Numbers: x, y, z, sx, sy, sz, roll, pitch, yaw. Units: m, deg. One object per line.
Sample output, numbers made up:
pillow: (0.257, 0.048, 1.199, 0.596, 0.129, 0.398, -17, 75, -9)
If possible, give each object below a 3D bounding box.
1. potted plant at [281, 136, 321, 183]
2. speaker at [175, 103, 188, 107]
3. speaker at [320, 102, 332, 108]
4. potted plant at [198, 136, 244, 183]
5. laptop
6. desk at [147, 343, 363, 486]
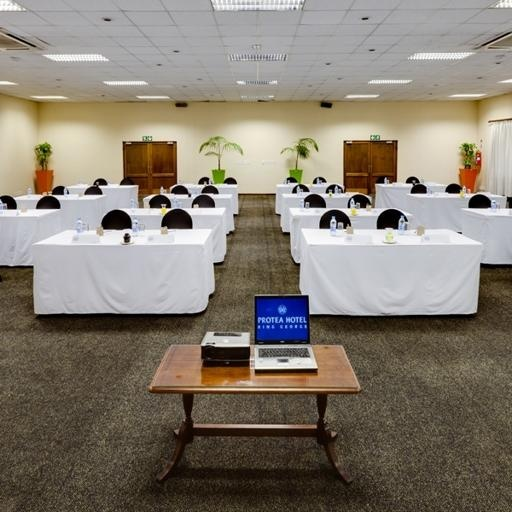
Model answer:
potted plant: (1.902, -4.049, 16.776, 1.500, 1.977, 1.883, 1, 1, 37)
speaker: (-3.221, -6.452, 16.551, 0.321, 0.136, 0.215, 0, 11, -2)
speaker: (2.952, -6.419, 16.461, 0.324, 0.163, 0.186, 1, -25, 3)
potted plant: (-1.563, -4.052, 16.179, 2.185, 2.227, 2.305, 0, 5, -6)
laptop: (0.128, 0.359, 1.819, 0.356, 0.255, 0.362, 3, 13, 17)
desk: (-0.018, 0.810, 1.904, 0.941, 0.682, 0.585, 0, 11, 2)
